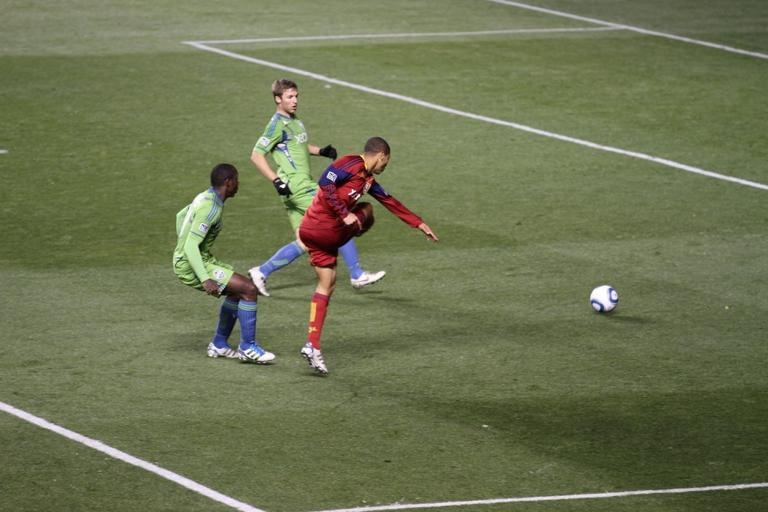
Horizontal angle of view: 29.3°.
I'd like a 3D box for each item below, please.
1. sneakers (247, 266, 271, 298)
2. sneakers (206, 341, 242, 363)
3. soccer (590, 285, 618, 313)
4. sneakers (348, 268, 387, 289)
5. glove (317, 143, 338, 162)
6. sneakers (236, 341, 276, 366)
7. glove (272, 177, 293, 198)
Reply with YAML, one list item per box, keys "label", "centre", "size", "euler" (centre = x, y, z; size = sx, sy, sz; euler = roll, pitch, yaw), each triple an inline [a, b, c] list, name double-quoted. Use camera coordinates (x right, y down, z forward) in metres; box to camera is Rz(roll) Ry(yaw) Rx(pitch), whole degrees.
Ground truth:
- label: "sneakers"
  centre: [-1.599, 0.315, 18.584]
  size: [0.209, 0.412, 0.235]
  euler: [-20, 4, 27]
- label: "sneakers"
  centre: [-1.891, 1.127, 17.235]
  size: [0.517, 0.145, 0.153]
  euler: [2, 6, -10]
- label: "soccer"
  centre: [2.727, 0.533, 18.123]
  size: [0.439, 0.300, 0.376]
  euler: [0, 7, 12]
- label: "sneakers"
  centre: [-0.185, 0.285, 18.678]
  size: [0.538, 0.189, 0.169]
  euler: [-20, 8, 15]
- label: "glove"
  centre: [-0.691, -1.326, 18.788]
  size: [0.302, 0.129, 0.326]
  euler: [9, 3, -15]
- label: "sneakers"
  centre: [-1.500, 1.148, 17.130]
  size: [0.577, 0.202, 0.177]
  euler: [3, 20, -6]
- label: "glove"
  centre: [-1.245, -0.871, 18.416]
  size: [0.254, 0.262, 0.095]
  euler: [-19, 34, 40]
